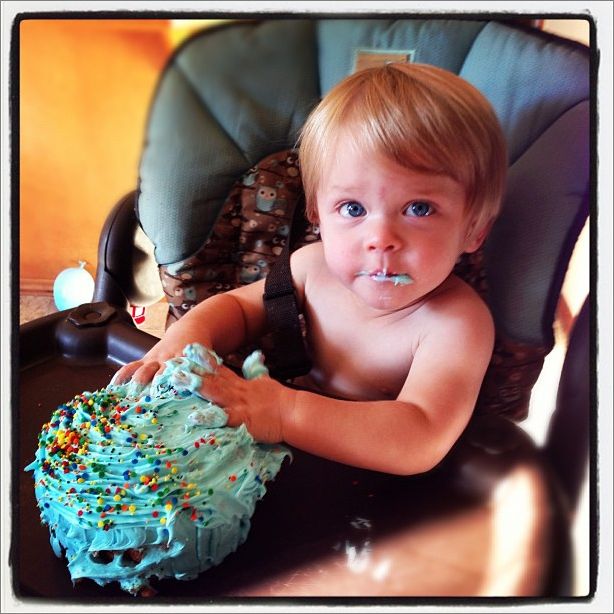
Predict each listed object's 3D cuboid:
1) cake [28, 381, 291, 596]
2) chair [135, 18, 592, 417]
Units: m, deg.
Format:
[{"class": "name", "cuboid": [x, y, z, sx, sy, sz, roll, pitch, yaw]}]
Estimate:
[{"class": "cake", "cuboid": [-0.194, 0.221, 0.744, 0.298, 0.087, 0.247, 11, 32, 7]}, {"class": "chair", "cuboid": [0.047, -0.260, 1.448, 0.848, 0.824, 0.781, 2, 19, 12]}]
